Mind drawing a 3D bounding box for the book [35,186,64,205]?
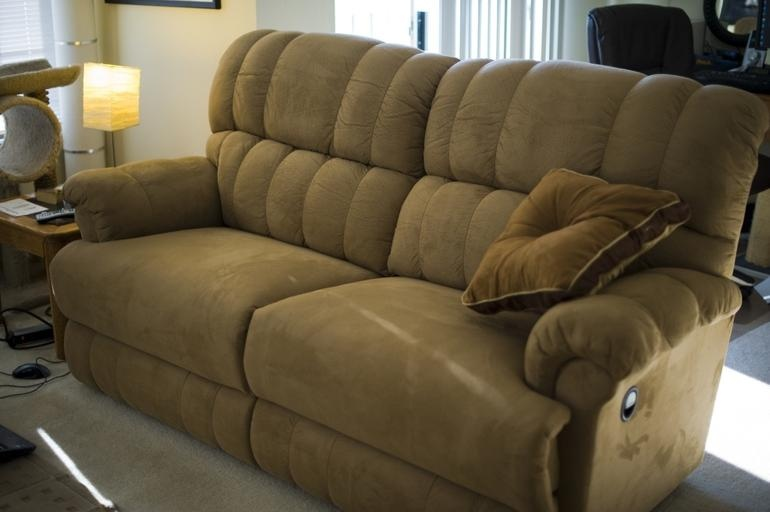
[{"bbox_3d":[-1.697,-0.303,3.363,0.115,0.037,0.088,13,21,35],"label":"book"}]

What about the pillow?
[{"bbox_3d":[0.616,-0.015,2.200,0.571,0.451,0.420,16,26,36],"label":"pillow"}]

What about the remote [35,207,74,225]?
[{"bbox_3d":[-1.569,-0.195,3.162,0.153,0.039,0.093,-12,22,-34],"label":"remote"}]

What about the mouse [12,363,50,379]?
[{"bbox_3d":[-1.611,0.520,3.032,0.119,0.037,0.082,1,14,-12],"label":"mouse"}]
